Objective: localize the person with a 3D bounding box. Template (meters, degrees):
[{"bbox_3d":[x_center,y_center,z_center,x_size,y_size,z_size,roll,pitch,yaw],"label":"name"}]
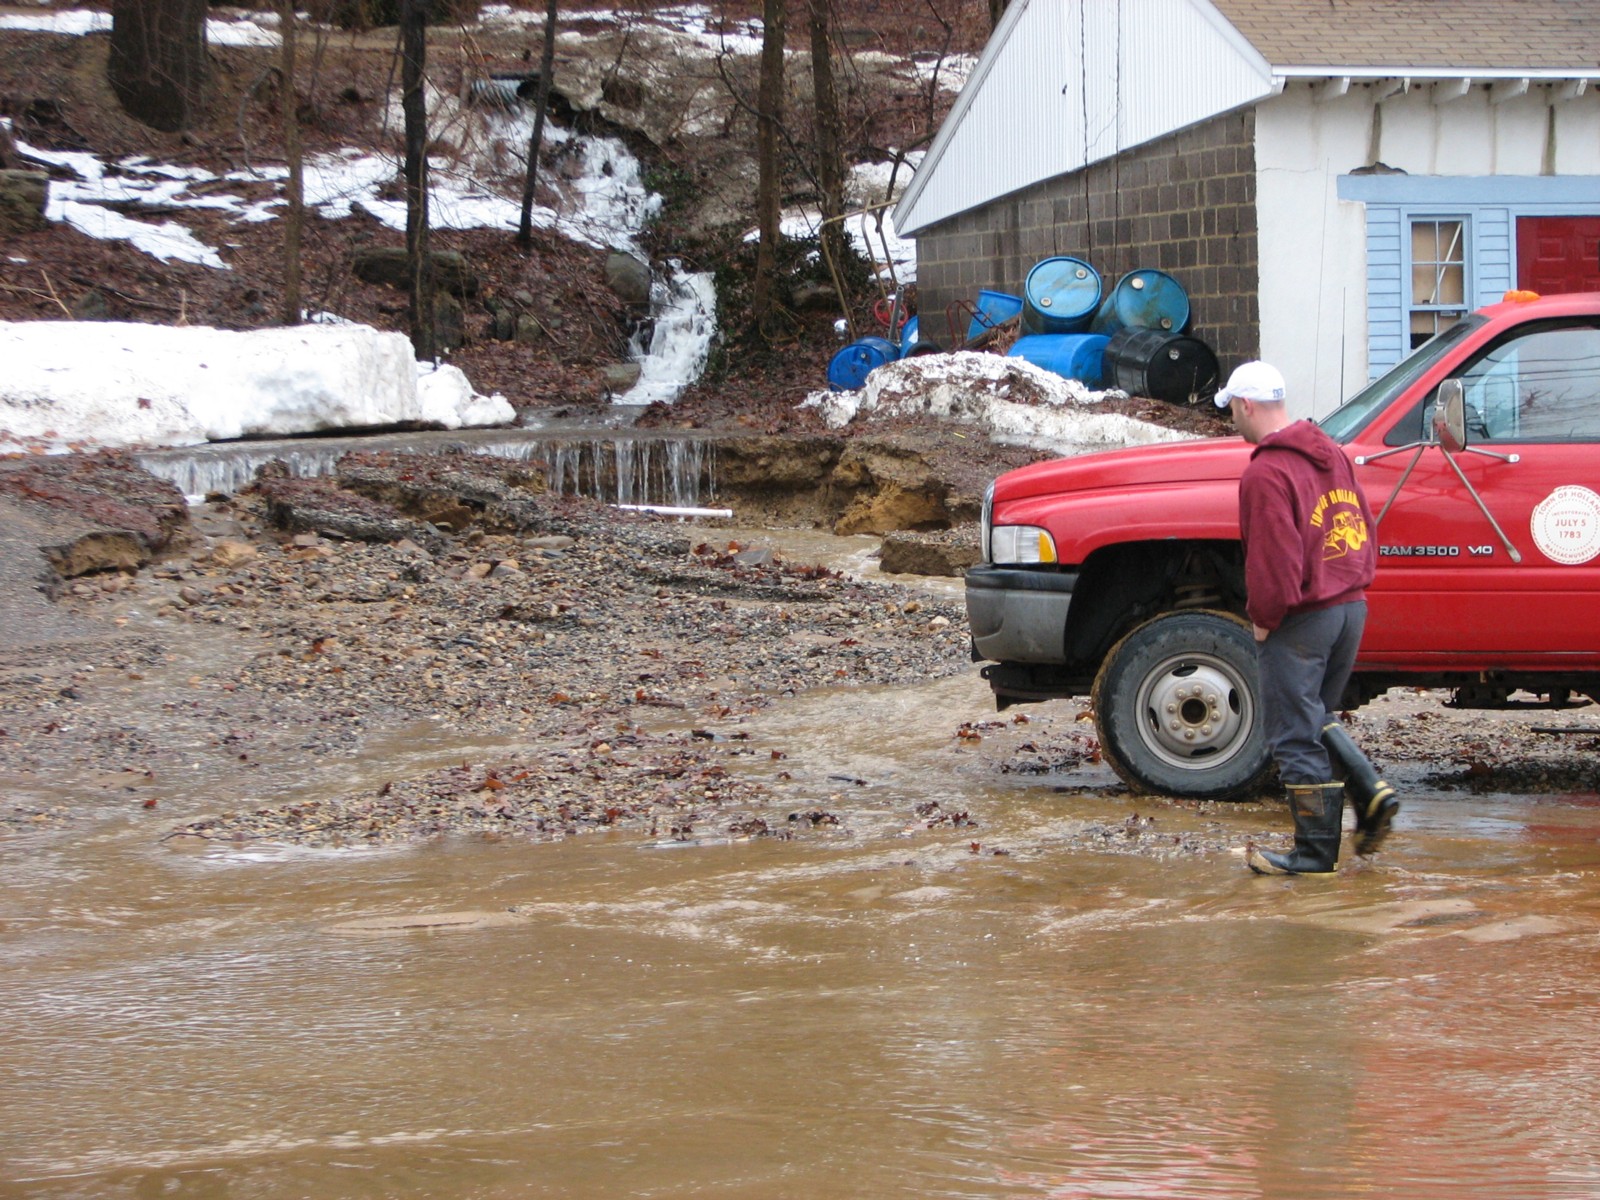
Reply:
[{"bbox_3d":[2.988,0.112,14.328,1.014,2.877,0.567,1,8,6],"label":"person"}]

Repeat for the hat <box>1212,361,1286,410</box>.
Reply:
[{"bbox_3d":[2.666,-1.223,14.521,0.359,0.199,0.410,-6,17,-21],"label":"hat"}]

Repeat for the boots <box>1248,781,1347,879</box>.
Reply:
[{"bbox_3d":[3.011,1.318,14.426,0.383,0.512,0.691,-1,-4,-42],"label":"boots"}]
